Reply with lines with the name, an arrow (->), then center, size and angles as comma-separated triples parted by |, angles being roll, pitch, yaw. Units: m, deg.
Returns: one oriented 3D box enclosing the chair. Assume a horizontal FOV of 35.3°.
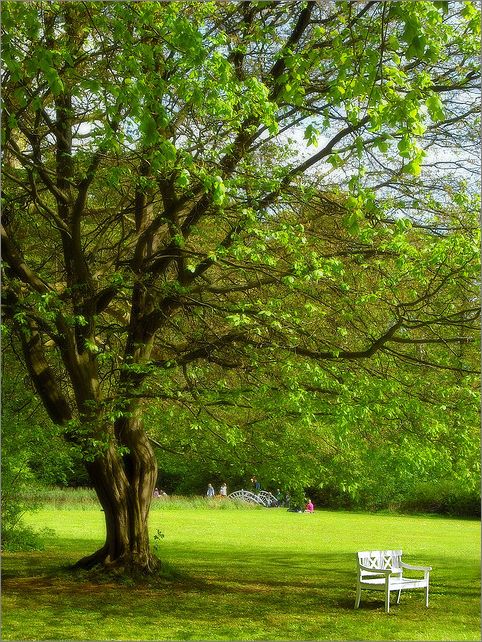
chair -> 2.353, 3.989, 11.673 | 0.619, 0.785, 1.358 | -7, -17, 37
